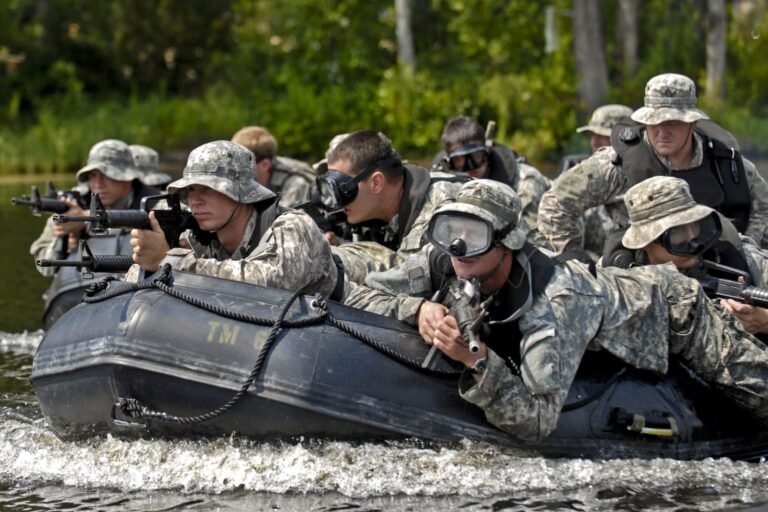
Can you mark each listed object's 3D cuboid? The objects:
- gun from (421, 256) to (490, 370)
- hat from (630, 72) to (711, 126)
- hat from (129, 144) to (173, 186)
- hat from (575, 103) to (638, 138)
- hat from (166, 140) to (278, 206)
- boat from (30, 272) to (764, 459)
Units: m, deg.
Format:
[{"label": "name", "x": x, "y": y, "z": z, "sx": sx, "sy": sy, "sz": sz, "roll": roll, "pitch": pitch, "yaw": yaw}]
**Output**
[{"label": "gun", "x": 0.506, "y": 0.409, "z": 7.442, "sx": 0.412, "sy": 0.661, "sz": 0.215, "roll": 12, "pitch": -38, "yaw": -32}, {"label": "hat", "x": 2.383, "y": -1.280, "z": 8.978, "sx": 0.494, "sy": 0.297, "sz": 0.464, "roll": -3, "pitch": 9, "yaw": -19}, {"label": "hat", "x": -2.453, "y": -0.922, "z": 11.432, "sx": 0.446, "sy": 0.244, "sz": 0.468, "roll": 31, "pitch": 10, "yaw": 29}, {"label": "hat", "x": 2.241, "y": -1.394, "z": 11.123, "sx": 0.461, "sy": 0.237, "sz": 0.625, "roll": 9, "pitch": 12, "yaw": 43}, {"label": "hat", "x": -1.220, "y": -0.631, "z": 8.170, "sx": 0.565, "sy": 0.340, "sz": 0.572, "roll": 9, "pitch": 12, "yaw": 39}, {"label": "boat", "x": -0.138, "y": 0.964, "z": 7.951, "sx": 3.391, "sy": 0.808, "sz": 2.010, "roll": 9, "pitch": -5, "yaw": 0}]
